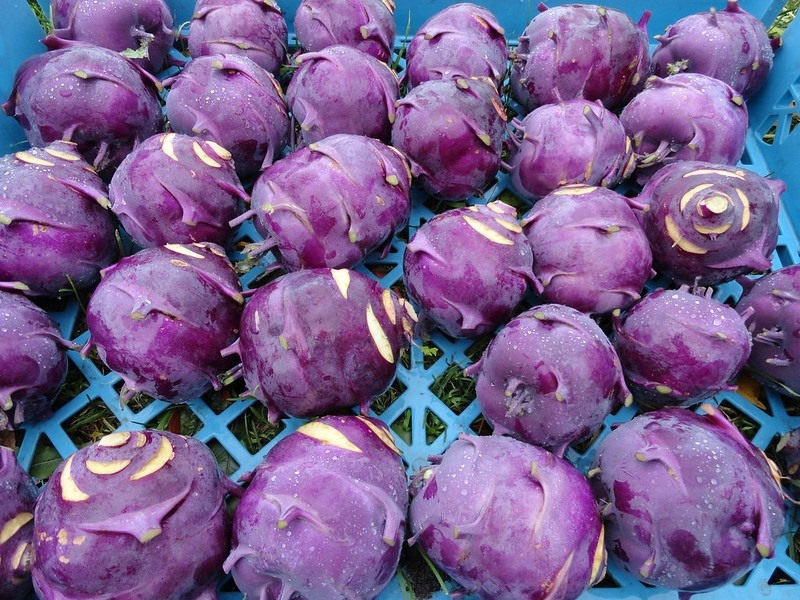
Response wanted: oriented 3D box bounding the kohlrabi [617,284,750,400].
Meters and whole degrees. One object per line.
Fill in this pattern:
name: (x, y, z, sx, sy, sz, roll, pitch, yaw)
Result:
kohlrabi: (0.723, 0.126, 1.836, 0.293, 0.302, 0.360, 21, 99, 28)
